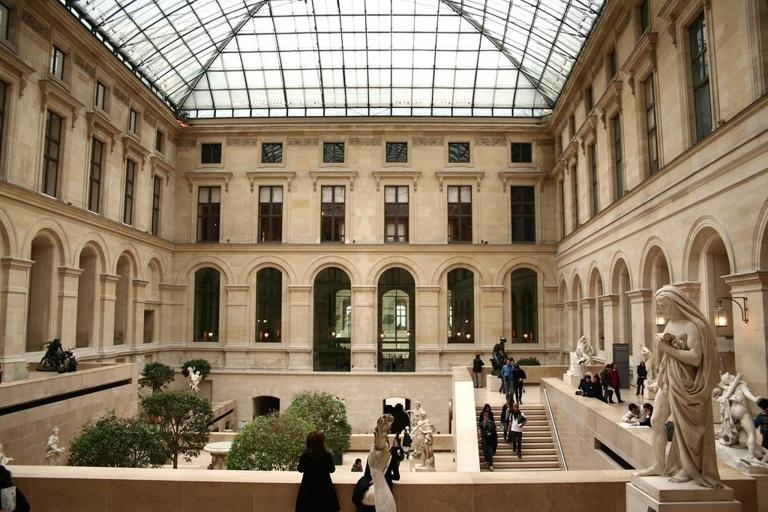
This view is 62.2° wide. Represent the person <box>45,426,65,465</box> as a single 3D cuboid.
[{"bbox_3d":[-12.958,7.527,25.095,0.753,1.620,3.690,6,-12,-26],"label":"person"}]
